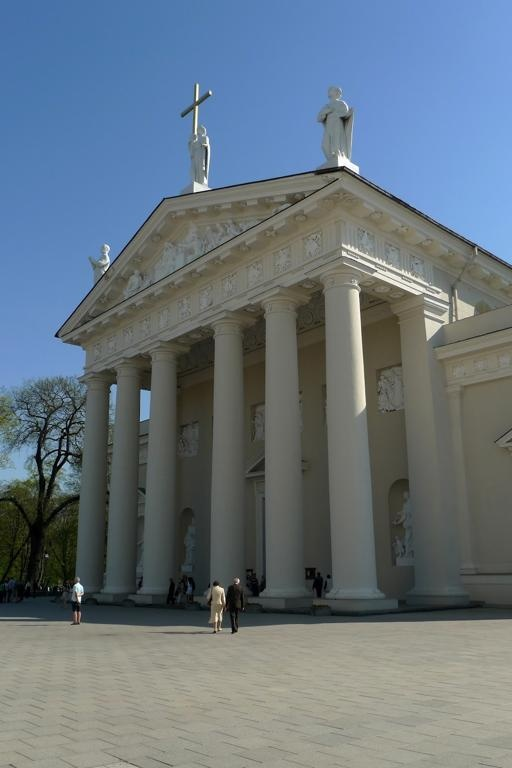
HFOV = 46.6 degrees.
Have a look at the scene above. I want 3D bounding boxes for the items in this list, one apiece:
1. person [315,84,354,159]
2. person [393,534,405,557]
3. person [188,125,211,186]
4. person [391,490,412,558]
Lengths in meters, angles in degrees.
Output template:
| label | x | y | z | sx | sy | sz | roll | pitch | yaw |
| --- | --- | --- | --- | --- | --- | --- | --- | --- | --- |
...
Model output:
| label | x | y | z | sx | sy | sz | roll | pitch | yaw |
| --- | --- | --- | --- | --- | --- | --- | --- | --- | --- |
| person | 2.395 | -7.773 | 17.897 | 0.982 | 2.660 | 0.613 | -5 | -15 | 9 |
| person | 4.556 | 5.201 | 18.958 | 0.268 | 0.769 | 0.256 | 27 | -44 | -10 |
| person | -2.180 | -8.479 | 22.482 | 0.717 | 2.737 | 1.313 | 0 | -15 | -7 |
| person | 4.676 | 4.609 | 18.924 | 0.333 | 2.284 | 0.910 | 6 | -17 | -28 |
